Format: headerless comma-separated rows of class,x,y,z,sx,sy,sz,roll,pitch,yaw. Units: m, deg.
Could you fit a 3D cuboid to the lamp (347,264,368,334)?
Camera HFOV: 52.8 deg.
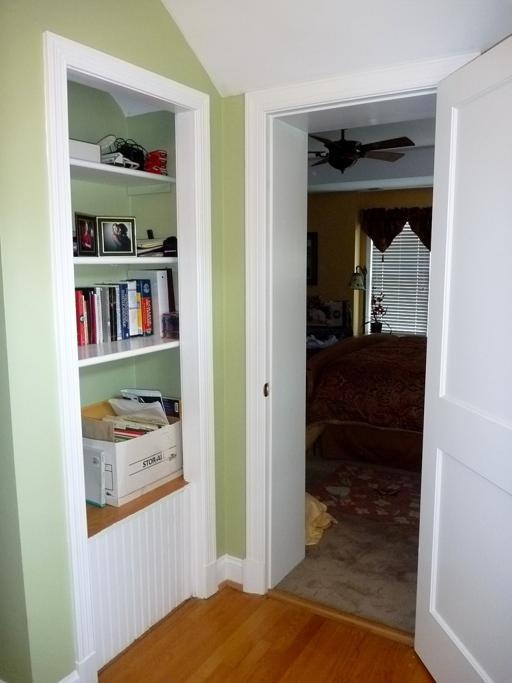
lamp,1.331,-0.554,6.555,0.189,0.763,0.175,-13,17,-25

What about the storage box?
storage box,-0.462,0.361,1.985,0.230,0.265,0.438,2,5,27

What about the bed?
bed,1.062,0.479,4.380,0.755,0.478,1.188,1,1,26

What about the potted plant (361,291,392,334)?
potted plant,1.564,-0.371,6.665,0.361,0.495,0.208,2,6,14
